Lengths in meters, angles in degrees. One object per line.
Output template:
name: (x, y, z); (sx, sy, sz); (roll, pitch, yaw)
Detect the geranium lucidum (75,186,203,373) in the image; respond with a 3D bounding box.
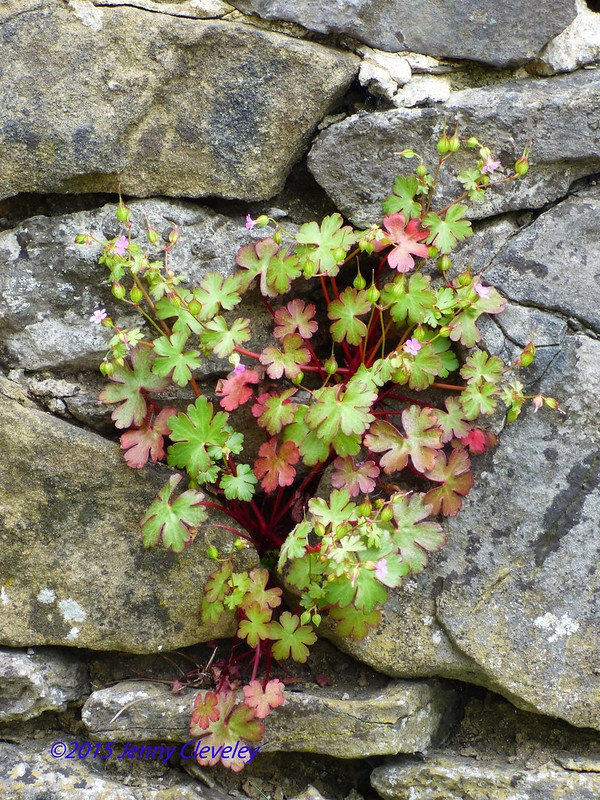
geranium lucidum: (-0.458, -0.342, 3.061); (0.381, 0.499, 0.190); (-10, 11, -16)

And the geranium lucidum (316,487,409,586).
geranium lucidum: (0.160, 0.386, 2.924); (0.258, 0.196, 0.287); (-6, 42, -16)
